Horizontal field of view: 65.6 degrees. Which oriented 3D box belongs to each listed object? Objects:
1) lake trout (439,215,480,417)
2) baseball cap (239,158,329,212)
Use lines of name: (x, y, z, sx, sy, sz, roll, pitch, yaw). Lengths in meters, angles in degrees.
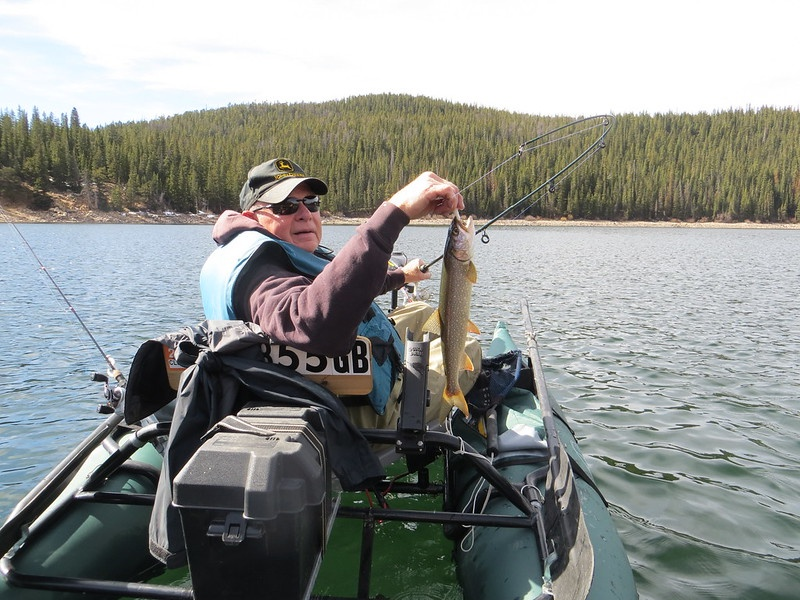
lake trout: (0.441, 0.118, 4.670, 0.425, 1.457, 0.294, 7, 19, 11)
baseball cap: (-0.941, -0.841, 4.741, 0.619, 0.319, 0.401, -25, 2, 36)
